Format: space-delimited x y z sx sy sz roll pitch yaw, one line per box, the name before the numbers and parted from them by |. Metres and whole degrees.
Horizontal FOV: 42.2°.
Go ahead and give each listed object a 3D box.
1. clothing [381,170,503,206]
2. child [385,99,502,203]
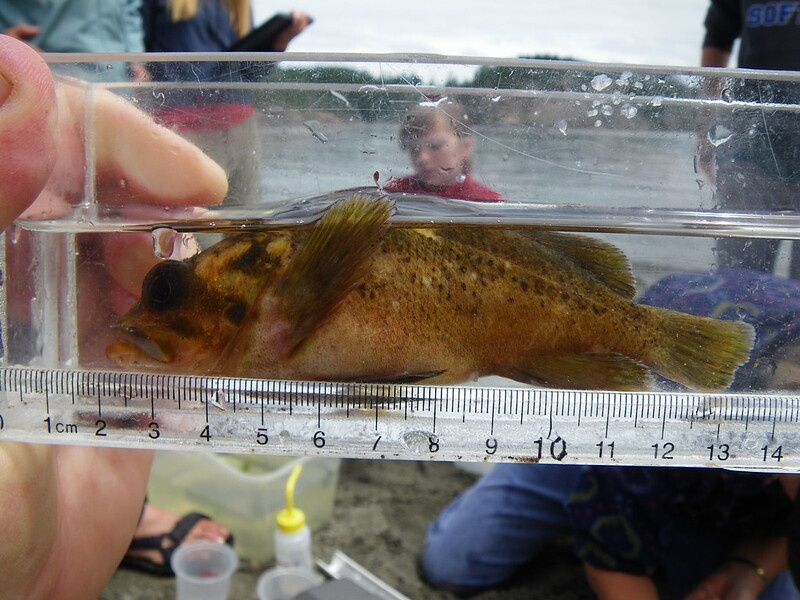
clothing | 0.086 -0.257 2.392 0.325 0.067 0.055 6 -7 -5
child | 0.114 -0.345 2.454 0.192 0.276 0.166 -8 13 20
